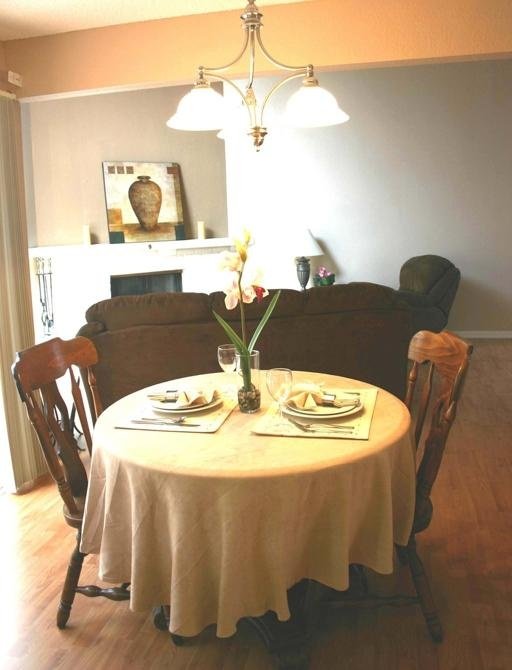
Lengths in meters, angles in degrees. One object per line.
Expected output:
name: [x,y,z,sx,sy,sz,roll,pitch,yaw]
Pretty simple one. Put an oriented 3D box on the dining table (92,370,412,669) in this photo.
dining table: [-0.030,0.325,1.479,0.677,0.312,0.654,0,12,3]
